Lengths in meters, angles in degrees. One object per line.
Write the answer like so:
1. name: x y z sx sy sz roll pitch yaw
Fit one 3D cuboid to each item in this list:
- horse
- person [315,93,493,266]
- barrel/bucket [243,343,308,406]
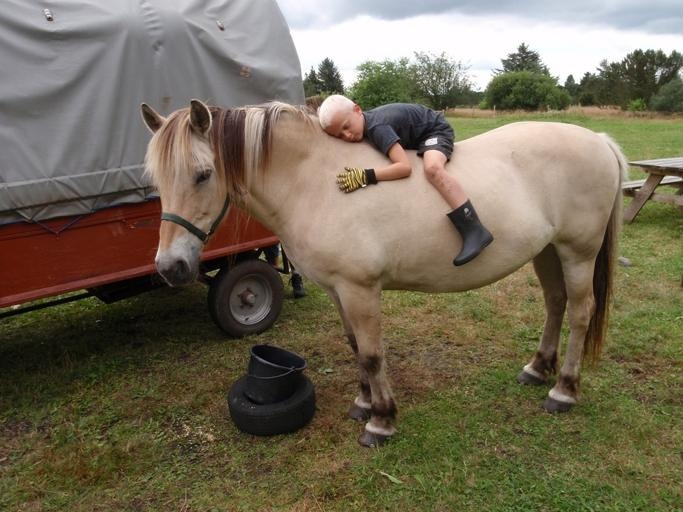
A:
1. horse: 0.297 0.237 4.079 2.510 1.983 0.934 -4 21 -7
2. person: 0.483 -0.602 4.229 1.426 1.804 0.862 -6 -2 -19
3. barrel/bucket: -0.562 0.978 4.121 0.443 0.402 0.410 7 3 0
